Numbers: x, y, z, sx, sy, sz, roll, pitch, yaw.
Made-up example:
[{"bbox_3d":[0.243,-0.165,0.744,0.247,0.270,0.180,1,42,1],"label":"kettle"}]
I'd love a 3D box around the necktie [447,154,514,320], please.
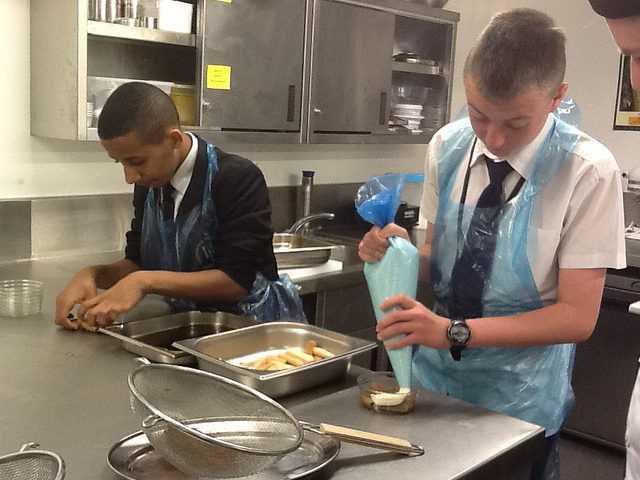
[{"bbox_3d":[0.471,0.006,1.582,0.157,0.491,0.092,8,14,41],"label":"necktie"}]

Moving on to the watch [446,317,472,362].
[{"bbox_3d":[0.361,0.251,1.370,0.065,0.090,0.034,2,11,14],"label":"watch"}]

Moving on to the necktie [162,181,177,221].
[{"bbox_3d":[-0.580,-0.160,2.028,0.053,0.218,0.022,-13,44,-31],"label":"necktie"}]

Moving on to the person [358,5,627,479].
[{"bbox_3d":[0.520,0.076,1.533,0.632,1.390,0.741,4,11,26],"label":"person"}]

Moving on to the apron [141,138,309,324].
[{"bbox_3d":[-0.372,-0.008,2.098,0.650,0.754,0.387,-5,11,-20],"label":"apron"}]

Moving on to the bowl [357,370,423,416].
[{"bbox_3d":[0.175,0.392,1.374,0.179,0.068,0.186,-2,-28,-1],"label":"bowl"}]

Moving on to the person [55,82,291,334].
[{"bbox_3d":[-0.542,-0.147,1.892,0.673,0.827,0.584,0,10,5],"label":"person"}]
